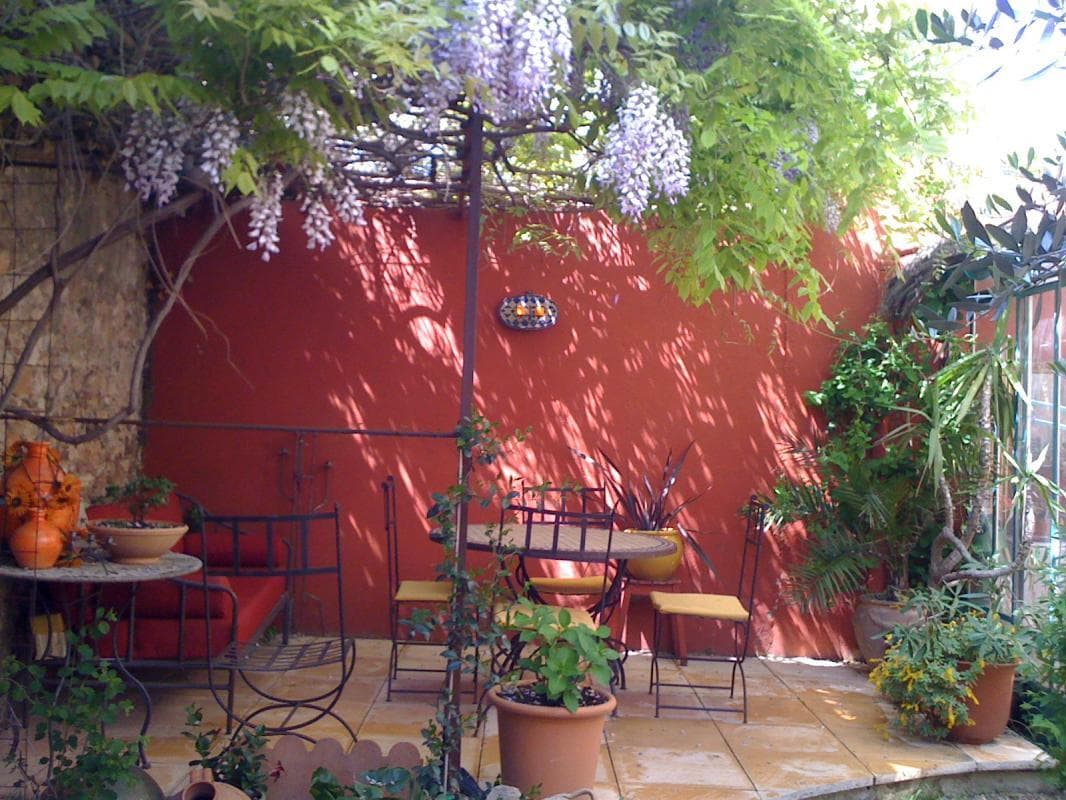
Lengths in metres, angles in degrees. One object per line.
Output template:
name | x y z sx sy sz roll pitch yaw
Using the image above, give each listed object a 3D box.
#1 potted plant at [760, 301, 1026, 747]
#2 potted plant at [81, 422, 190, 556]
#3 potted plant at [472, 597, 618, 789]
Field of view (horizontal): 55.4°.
potted plant | 2.270 0.646 6.473 1.837 2.961 1.961 -1 -1 19
potted plant | -1.924 0.561 4.906 0.451 0.423 0.518 -2 1 -9
potted plant | 0.077 1.291 4.416 0.561 0.831 0.526 2 5 5
